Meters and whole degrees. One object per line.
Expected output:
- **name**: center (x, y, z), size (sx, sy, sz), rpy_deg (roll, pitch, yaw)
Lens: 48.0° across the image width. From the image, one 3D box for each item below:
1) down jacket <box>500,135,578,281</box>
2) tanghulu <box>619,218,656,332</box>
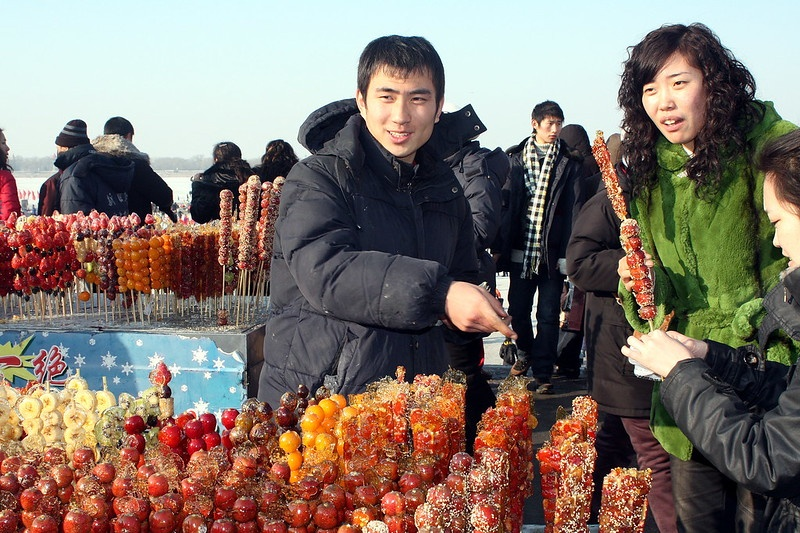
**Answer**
- **down jacket**: center (1.221, -0.501, 7.903), size (1.143, 1.280, 0.357), rpy_deg (2, 1, 9)
- **tanghulu**: center (1.126, 0.014, 4.244), size (0.150, 0.575, 0.150), rpy_deg (1, -2, -24)
